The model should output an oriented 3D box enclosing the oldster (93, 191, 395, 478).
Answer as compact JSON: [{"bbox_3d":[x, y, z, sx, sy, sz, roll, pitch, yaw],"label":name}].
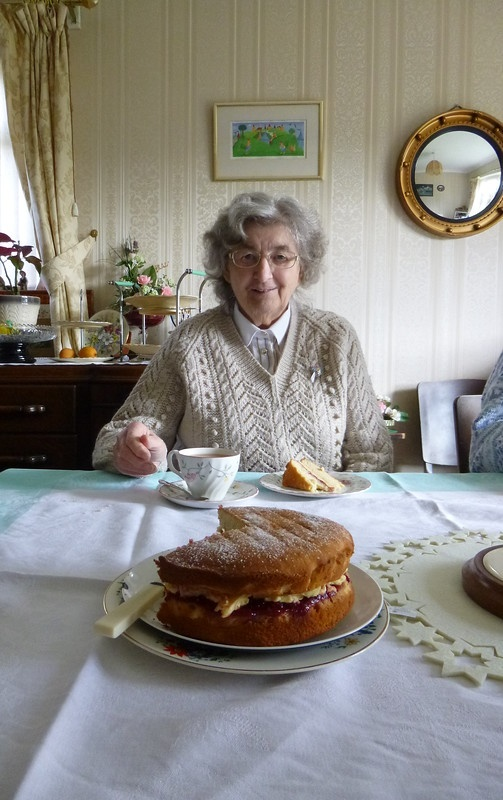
[{"bbox_3d":[0.000,-0.099,1.208,0.626,0.681,0.481,0,-3,-3],"label":"oldster"}]

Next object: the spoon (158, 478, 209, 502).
[{"bbox_3d":[-0.084,0.113,0.776,0.025,0.016,0.105,2,6,-28],"label":"spoon"}]

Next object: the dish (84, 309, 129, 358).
[{"bbox_3d":[-0.651,-0.295,2.672,0.253,0.261,0.062,-6,-11,16],"label":"dish"}]

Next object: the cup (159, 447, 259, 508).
[{"bbox_3d":[-0.057,0.102,0.767,0.124,0.058,0.115,3,4,0],"label":"cup"}]

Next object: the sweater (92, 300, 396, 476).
[{"bbox_3d":[-0.019,-0.029,1.216,0.653,0.402,0.379,5,-3,-13],"label":"sweater"}]
